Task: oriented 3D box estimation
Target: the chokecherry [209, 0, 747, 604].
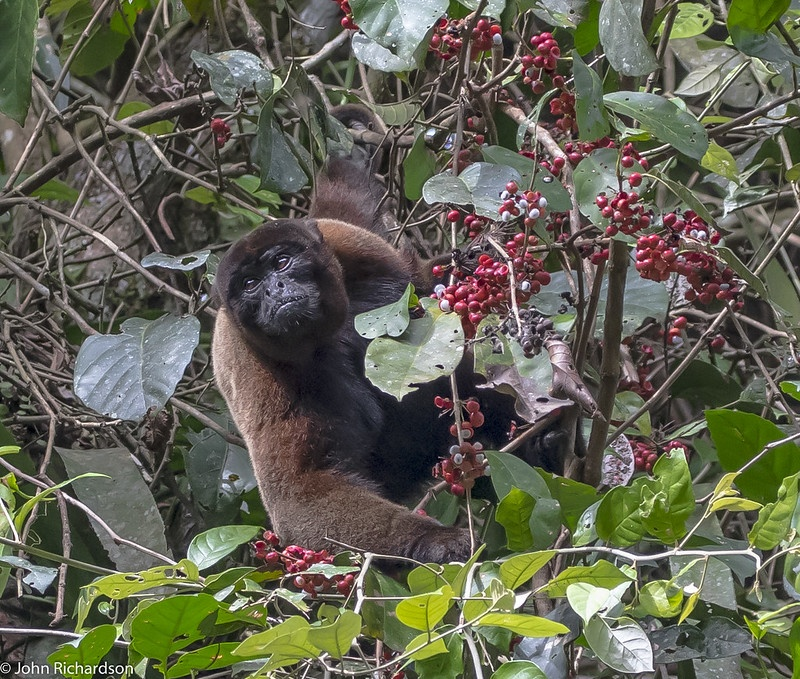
[{"bbox_3d":[0.285,-0.089,4.418,1.703,2.444,0.800,-12,-64,9],"label":"chokecherry"}]
